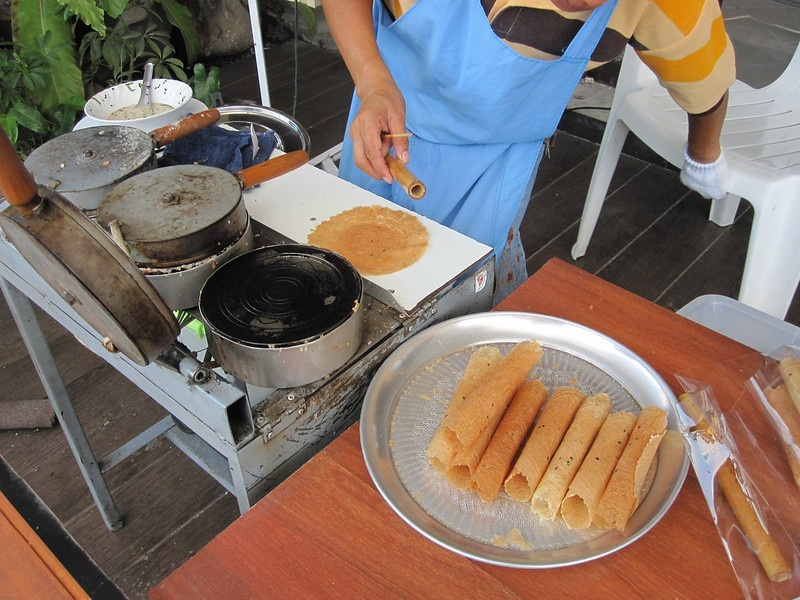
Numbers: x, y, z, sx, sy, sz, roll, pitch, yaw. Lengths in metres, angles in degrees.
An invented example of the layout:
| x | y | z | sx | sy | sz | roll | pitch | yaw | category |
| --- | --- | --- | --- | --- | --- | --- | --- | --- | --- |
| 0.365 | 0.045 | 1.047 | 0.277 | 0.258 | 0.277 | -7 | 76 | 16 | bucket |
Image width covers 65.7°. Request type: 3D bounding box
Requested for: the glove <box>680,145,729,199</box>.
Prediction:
| x | y | z | sx | sy | sz | roll | pitch | yaw | category |
| --- | --- | --- | --- | --- | --- | --- | --- | --- | --- |
| 0.863 | -0.369 | 1.846 | 0.152 | 0.153 | 0.111 | 31 | 81 | 37 | glove |

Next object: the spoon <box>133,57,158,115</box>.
| x | y | z | sx | sy | sz | roll | pitch | yaw | category |
| --- | --- | --- | --- | --- | --- | --- | --- | --- | --- |
| -0.623 | -0.515 | 1.518 | 0.038 | 0.028 | 0.157 | 9 | 86 | -21 | spoon |

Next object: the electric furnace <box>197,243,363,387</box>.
| x | y | z | sx | sy | sz | roll | pitch | yaw | category |
| --- | --- | --- | --- | --- | --- | --- | --- | --- | --- |
| -0.193 | 0.020 | 1.036 | 0.263 | 0.096 | 0.266 | -4 | 39 | -6 | electric furnace |

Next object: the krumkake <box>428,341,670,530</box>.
| x | y | z | sx | sy | sz | roll | pitch | yaw | category |
| --- | --- | --- | --- | --- | --- | --- | --- | --- | --- |
| 0.226 | 0.222 | 0.955 | 0.296 | 0.106 | 0.260 | 20 | 56 | 19 | krumkake |
